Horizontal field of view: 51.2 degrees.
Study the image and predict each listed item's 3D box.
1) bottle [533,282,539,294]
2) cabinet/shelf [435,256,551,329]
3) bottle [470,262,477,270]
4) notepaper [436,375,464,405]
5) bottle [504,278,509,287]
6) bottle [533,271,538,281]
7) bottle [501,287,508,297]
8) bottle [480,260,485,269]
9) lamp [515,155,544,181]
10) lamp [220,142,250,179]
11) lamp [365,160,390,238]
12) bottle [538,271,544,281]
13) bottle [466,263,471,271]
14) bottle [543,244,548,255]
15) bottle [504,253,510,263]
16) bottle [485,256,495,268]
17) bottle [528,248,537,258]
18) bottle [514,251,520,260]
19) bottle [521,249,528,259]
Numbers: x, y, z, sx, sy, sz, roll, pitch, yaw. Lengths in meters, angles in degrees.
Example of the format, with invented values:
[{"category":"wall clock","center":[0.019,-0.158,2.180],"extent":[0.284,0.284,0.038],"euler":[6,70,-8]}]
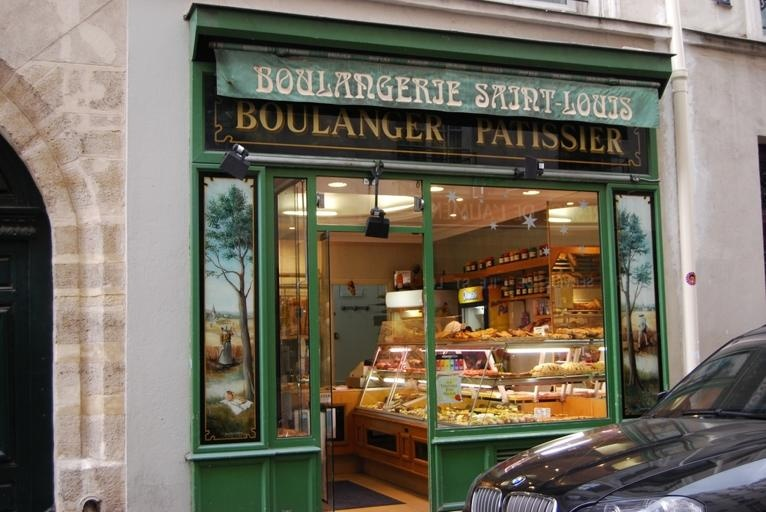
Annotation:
[{"category":"bottle","center":[2.100,0.444,10.908],"extent":[0.101,0.133,0.139],"euler":[0,-1,-18]},{"category":"cabinet/shelf","center":[1.463,0.545,11.079],"extent":[1.361,1.229,0.430],"euler":[-6,33,2]},{"category":"bottle","center":[1.206,0.132,10.469],"extent":[0.097,0.097,0.178],"euler":[3,-1,5]},{"category":"notepaper","center":[0.830,1.676,9.923],"extent":[0.349,0.329,0.047],"euler":[6,-18,-25]},{"category":"bottle","center":[1.708,0.367,10.895],"extent":[0.112,0.103,0.078],"euler":[1,-12,0]},{"category":"bottle","center":[2.091,0.277,10.847],"extent":[0.121,0.110,0.027],"euler":[2,6,15]},{"category":"bottle","center":[1.663,0.504,10.940],"extent":[0.132,0.128,0.093],"euler":[0,-3,6]},{"category":"bottle","center":[1.338,0.127,10.650],"extent":[0.075,0.080,0.084],"euler":[2,0,-27]},{"category":"lamp","center":[1.867,-1.082,9.998],"extent":[0.440,0.246,0.404],"euler":[4,9,5]},{"category":"lamp","center":[-1.658,-1.090,9.070],"extent":[0.345,0.397,0.199],"euler":[0,-6,-22]},{"category":"lamp","center":[-0.065,-0.668,9.699],"extent":[0.287,0.897,0.347],"euler":[-4,-6,15]},{"category":"bottle","center":[2.148,0.276,10.822],"extent":[0.112,0.120,0.072],"euler":[-4,-6,12]},{"category":"bottle","center":[1.111,0.134,10.332],"extent":[0.011,0.070,0.102],"euler":[-2,-3,43]},{"category":"bottle","center":[2.181,-0.072,10.598],"extent":[0.085,0.122,0.117],"euler":[-3,-5,7]},{"category":"bottle","center":[1.689,0.037,10.756],"extent":[0.104,0.105,0.090],"euler":[-2,-5,-3]},{"category":"bottle","center":[1.451,0.092,10.764],"extent":[0.175,0.137,0.091],"euler":[2,-7,-40]},{"category":"bottle","center":[2.012,-0.041,10.660],"extent":[0.115,0.124,0.112],"euler":[-3,-8,33]},{"category":"bottle","center":[1.794,-0.009,10.768],"extent":[0.109,0.082,0.113],"euler":[-3,-48,-3]},{"category":"bottle","center":[1.913,-0.026,10.698],"extent":[0.106,0.111,0.107],"euler":[0,-2,27]}]
